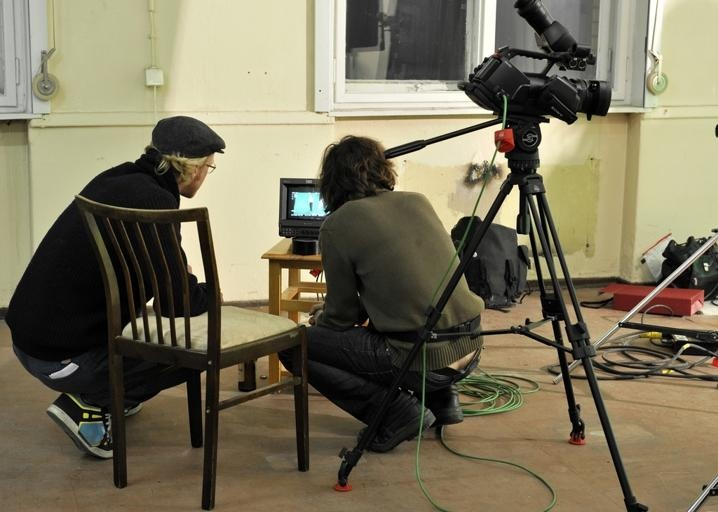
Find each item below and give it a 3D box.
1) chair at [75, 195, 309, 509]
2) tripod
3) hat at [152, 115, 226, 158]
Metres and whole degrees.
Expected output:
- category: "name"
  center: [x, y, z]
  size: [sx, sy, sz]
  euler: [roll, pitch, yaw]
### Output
- category: "chair"
  center: [-0.680, 0.368, 3.291]
  size: [0.924, 1.227, 0.525]
  euler: [5, 12, 19]
- category: "tripod"
  center: [0.700, 0.164, 3.911]
  size: [1.526, 2.044, 1.454]
  euler: [2, 3, -8]
- category: "hat"
  center: [-0.766, -0.528, 3.421]
  size: [0.252, 0.094, 0.198]
  euler: [-4, 39, -6]
